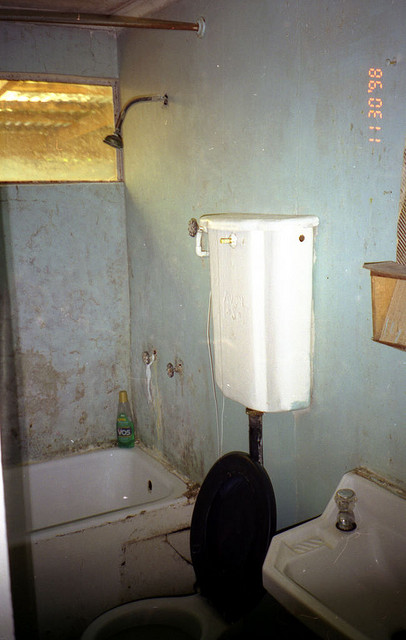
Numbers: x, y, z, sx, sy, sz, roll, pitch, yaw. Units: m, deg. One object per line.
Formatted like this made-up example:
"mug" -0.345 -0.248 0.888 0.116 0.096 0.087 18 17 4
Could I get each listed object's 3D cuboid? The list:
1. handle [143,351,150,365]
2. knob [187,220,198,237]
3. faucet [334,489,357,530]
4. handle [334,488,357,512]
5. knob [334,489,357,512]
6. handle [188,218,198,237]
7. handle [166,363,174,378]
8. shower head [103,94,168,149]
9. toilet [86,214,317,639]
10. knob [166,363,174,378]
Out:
"handle" -0.248 0.178 2.379 0.016 0.048 0.033 -6 -1 -16
"knob" -0.033 -0.313 1.819 0.035 0.055 0.015 11 22 41
"faucet" 0.291 0.388 1.082 0.037 0.081 0.041 -2 12 5
"handle" 0.282 0.357 1.055 0.040 0.046 0.046 -5 9 5
"knob" 0.284 0.359 1.052 0.040 0.046 0.045 -3 6 5
"handle" -0.030 -0.312 1.794 0.014 0.052 0.035 -7 17 -32
"handle" -0.130 0.205 2.151 0.017 0.050 0.027 -7 3 -36
"shower head" -0.269 -0.757 2.018 0.273 0.193 0.157 10 15 37
"toilet" 0.086 0.329 1.387 0.601 1.189 0.551 11 15 42
"knob" -0.129 0.205 2.146 0.030 0.046 0.016 2 9 39
